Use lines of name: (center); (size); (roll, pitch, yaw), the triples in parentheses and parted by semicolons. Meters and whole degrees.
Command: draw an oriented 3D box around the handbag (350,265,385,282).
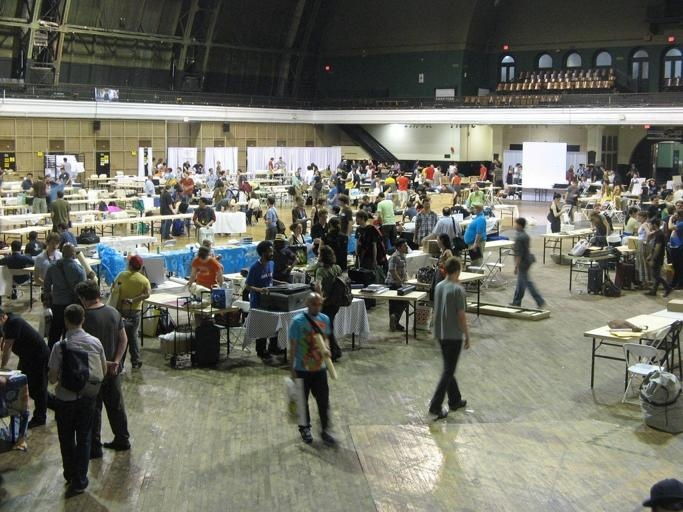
handbag: (0.397, 0.276, 8.986); (0.301, 0.255, 0.454); (0, 5, 17)

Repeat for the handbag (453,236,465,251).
handbag: (2.119, -0.227, 10.387); (0.206, 0.221, 0.391); (4, 11, 8)

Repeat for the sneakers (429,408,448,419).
sneakers: (1.036, 1.699, 6.206); (0.116, 0.068, 0.185); (0, -3, 3)

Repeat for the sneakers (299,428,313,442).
sneakers: (-0.346, 1.769, 5.665); (0.067, 0.089, 0.201); (-2, -1, -25)

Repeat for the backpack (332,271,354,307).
backpack: (0.027, 0.350, 7.237); (0.286, 0.550, 0.539); (1, 5, 9)

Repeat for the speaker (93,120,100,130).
speaker: (-12.493, -6.631, 29.195); (0.403, 0.537, 0.438); (-5, 12, -27)

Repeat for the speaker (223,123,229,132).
speaker: (-6.896, -7.606, 34.196); (0.294, 0.548, 0.428); (0, 11, -3)
